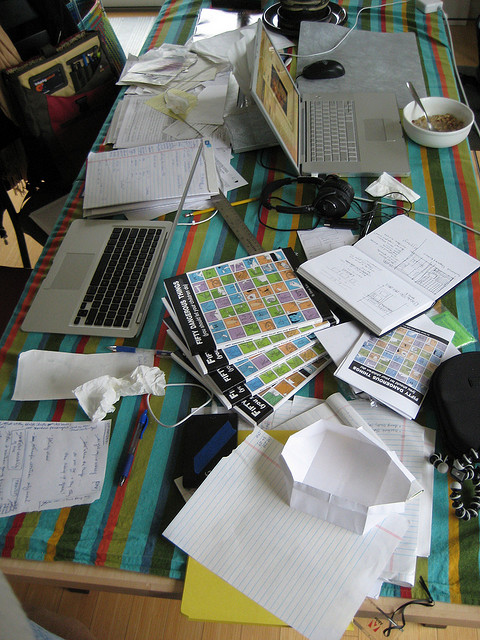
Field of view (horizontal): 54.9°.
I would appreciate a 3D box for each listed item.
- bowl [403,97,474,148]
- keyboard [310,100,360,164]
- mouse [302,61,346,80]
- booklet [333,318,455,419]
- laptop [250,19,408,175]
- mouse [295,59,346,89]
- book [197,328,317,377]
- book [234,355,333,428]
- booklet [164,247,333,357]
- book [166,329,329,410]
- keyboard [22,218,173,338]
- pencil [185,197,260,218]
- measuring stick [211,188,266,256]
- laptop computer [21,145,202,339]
[{"bbox_3d":[0.492,-0.476,1.184,0.151,0.065,0.155,-1,67,2],"label":"bowl"},{"bbox_3d":[0.231,-0.476,1.176,0.120,0.008,0.234,-2,64,2],"label":"keyboard"},{"bbox_3d":[0.238,-0.713,1.322,0.099,0.036,0.056,3,46,6],"label":"mouse"},{"bbox_3d":[0.259,0.059,0.766,0.132,0.030,0.186,23,58,30],"label":"booklet"},{"bbox_3d":[0.254,-0.540,1.162,0.488,0.291,0.474,15,25,28],"label":"laptop"},{"bbox_3d":[0.236,-0.712,1.323,0.115,0.034,0.088,0,47,11],"label":"mouse"},{"bbox_3d":[0.066,0.052,0.827,0.335,0.025,0.111,-2,43,-38],"label":"book"},{"bbox_3d":[0.068,0.134,0.737,0.208,0.014,0.073,-33,69,-25],"label":"book"},{"bbox_3d":[0.011,-0.028,0.820,0.228,0.024,0.180,-17,56,-11],"label":"booklet"},{"bbox_3d":[0.043,0.076,0.819,0.270,0.026,0.251,-2,25,-26],"label":"book"},{"bbox_3d":[-0.290,-0.093,0.976,0.260,0.034,0.329,-1,55,5],"label":"keyboard"},{"bbox_3d":[-0.042,-0.260,1.077,0.169,0.013,0.008,-15,65,-5],"label":"pencil"},{"bbox_3d":[-0.004,-0.213,1.037,0.040,0.002,0.275,-25,53,-9],"label":"measuring stick"},{"bbox_3d":[-0.287,-0.106,0.909,0.200,0.296,0.321,20,67,-14],"label":"laptop computer"}]
